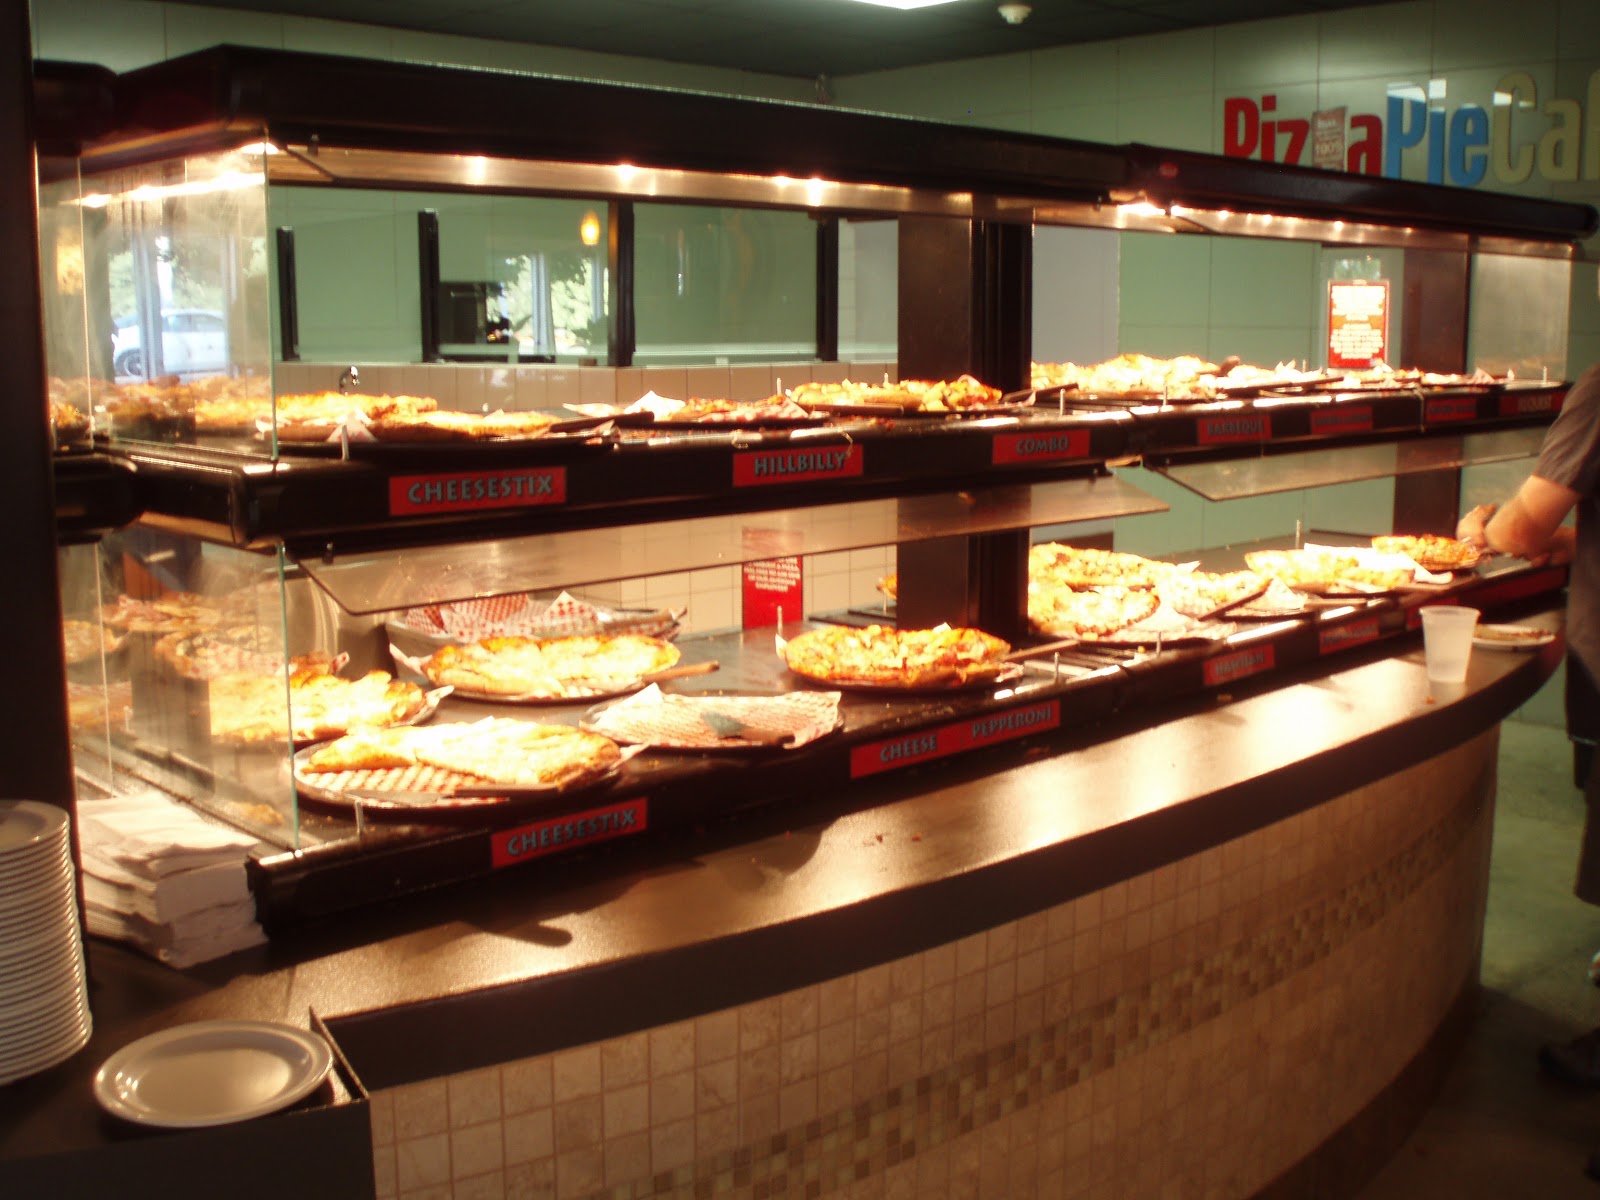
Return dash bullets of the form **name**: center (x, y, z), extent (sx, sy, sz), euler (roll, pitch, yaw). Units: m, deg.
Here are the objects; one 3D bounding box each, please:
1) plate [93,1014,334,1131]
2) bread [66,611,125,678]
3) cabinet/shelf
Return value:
- **plate**: center (-0.756, 0.610, 1.699), extent (0.292, 0.046, 0.188), euler (0, 12, 5)
- **bread**: center (-1.280, 0.084, 2.399), extent (0.121, 0.119, 0.025), euler (3, -3, 10)
- **cabinet/shelf**: center (0.183, -0.292, 3.211), extent (4.022, 1.350, 0.907), euler (-10, 18, -34)
